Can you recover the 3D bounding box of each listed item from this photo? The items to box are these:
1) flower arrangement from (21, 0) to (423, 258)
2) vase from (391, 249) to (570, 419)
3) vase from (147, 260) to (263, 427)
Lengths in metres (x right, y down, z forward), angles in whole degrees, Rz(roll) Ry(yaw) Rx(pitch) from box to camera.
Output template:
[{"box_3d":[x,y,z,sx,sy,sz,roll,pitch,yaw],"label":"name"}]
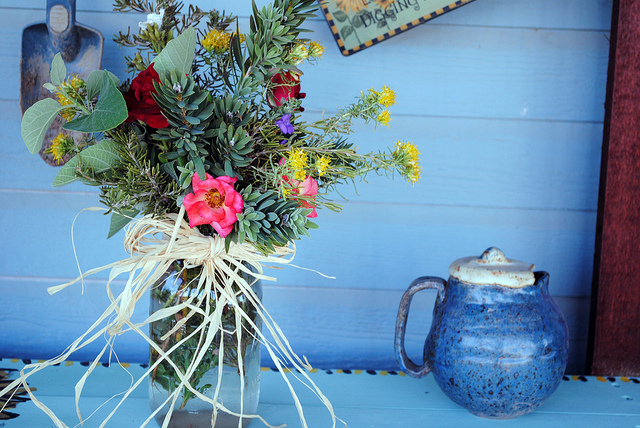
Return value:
[{"box_3d":[-0.175,-0.100,1.328,0.600,0.510,0.275,5,-31,-7],"label":"flower arrangement"},{"box_3d":[0.341,0.245,1.504,0.357,0.352,0.295,-1,-1,12],"label":"vase"},{"box_3d":[-0.230,0.281,1.339,0.236,0.279,0.287,9,-26,-4],"label":"vase"}]
